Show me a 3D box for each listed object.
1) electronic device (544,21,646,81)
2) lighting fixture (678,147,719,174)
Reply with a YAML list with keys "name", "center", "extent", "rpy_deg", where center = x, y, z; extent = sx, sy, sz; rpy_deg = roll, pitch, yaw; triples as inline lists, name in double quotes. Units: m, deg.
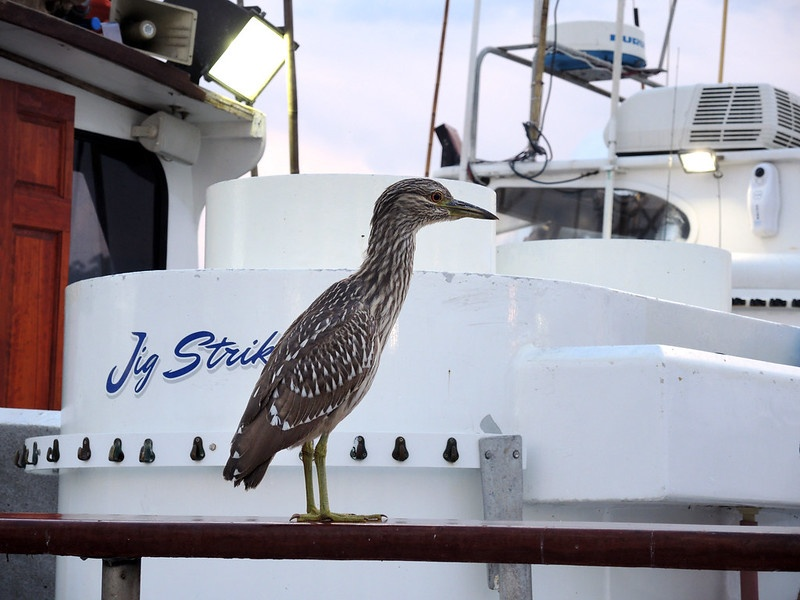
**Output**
- name: "electronic device"
  center: [2.002, -2.506, 17.622]
  extent: [0.850, 0.309, 0.850]
  rpy_deg: [1, -2, 39]
- name: "lighting fixture"
  center: [2.637, -1.213, 15.837]
  extent: [0.366, 0.207, 0.269]
  rpy_deg: [0, -31, 14]
